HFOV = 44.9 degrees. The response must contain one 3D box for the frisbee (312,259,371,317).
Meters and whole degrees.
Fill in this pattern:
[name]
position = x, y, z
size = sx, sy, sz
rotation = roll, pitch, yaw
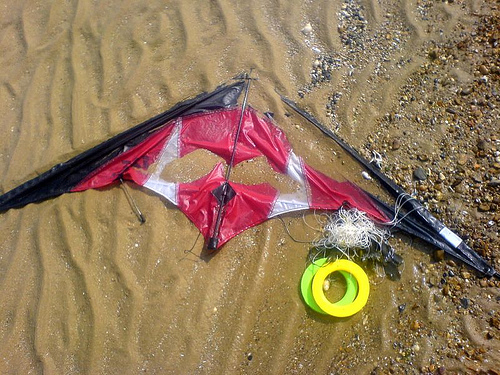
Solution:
[frisbee]
position = 1.010, 1.110, 6.732
size = 0.631, 0.157, 0.602
rotation = -16, 74, 7
